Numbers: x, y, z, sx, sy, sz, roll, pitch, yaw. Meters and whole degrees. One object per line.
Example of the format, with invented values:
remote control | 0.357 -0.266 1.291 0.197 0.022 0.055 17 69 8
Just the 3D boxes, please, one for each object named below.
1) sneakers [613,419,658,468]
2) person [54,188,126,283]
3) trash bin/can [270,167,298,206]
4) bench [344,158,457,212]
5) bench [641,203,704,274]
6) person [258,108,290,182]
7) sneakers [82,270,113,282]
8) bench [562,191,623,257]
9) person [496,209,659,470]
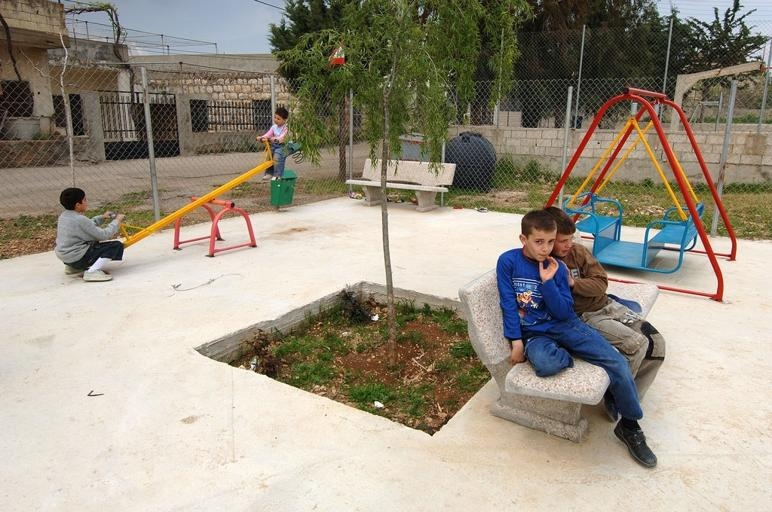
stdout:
sneakers | 1.938 1.437 4.209 0.166 0.170 0.407 -15 41 -24
person | -3.869 -0.326 7.064 0.799 1.115 0.900 -6 15 -41
trash bin/can | -2.029 -1.356 10.497 0.418 0.665 0.557 16 16 31
bench | 0.279 -1.414 11.014 2.300 0.881 0.814 12 17 32
bench | 4.076 -0.229 7.630 0.448 0.613 1.067 8 25 36
person | -1.918 -1.881 9.302 0.446 1.314 2.554 -4 16 -12
sneakers | -3.622 0.250 6.838 0.376 0.163 0.143 -2 14 -18
bench | 2.887 -0.448 7.479 0.432 0.737 1.115 9 28 34
person | 1.472 0.590 4.300 1.223 1.832 0.536 4 16 15
